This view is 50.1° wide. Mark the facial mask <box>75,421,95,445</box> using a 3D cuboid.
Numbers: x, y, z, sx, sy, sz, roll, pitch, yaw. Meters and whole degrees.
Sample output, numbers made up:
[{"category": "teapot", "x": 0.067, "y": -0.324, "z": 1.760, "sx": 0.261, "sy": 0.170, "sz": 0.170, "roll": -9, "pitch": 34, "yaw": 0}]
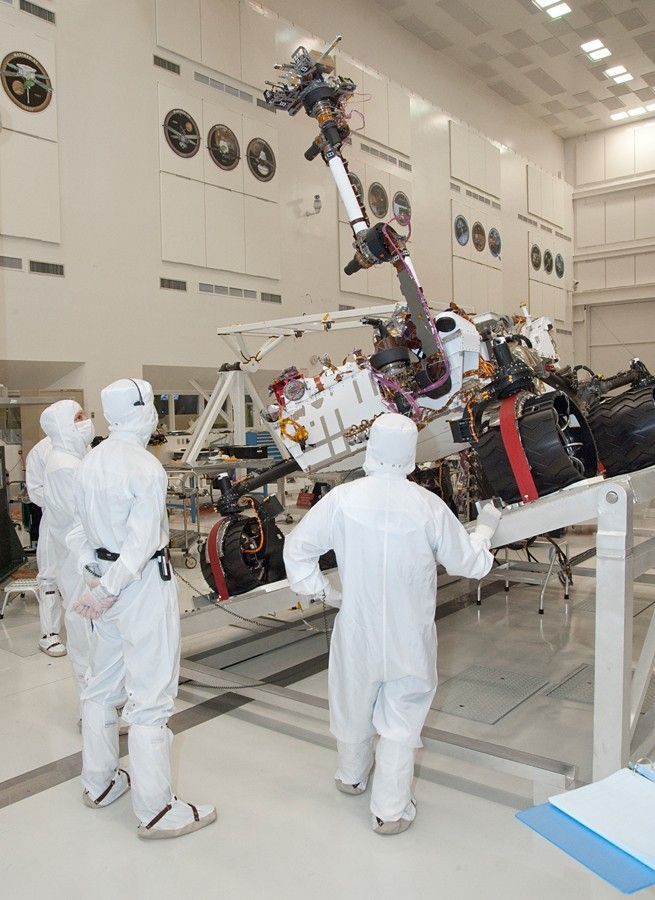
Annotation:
[{"category": "facial mask", "x": -1.408, "y": -0.093, "z": 3.977, "sx": 0.122, "sy": 0.115, "sz": 0.092, "roll": -5, "pitch": 7, "yaw": 8}]

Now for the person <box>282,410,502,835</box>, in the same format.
[{"category": "person", "x": 0.206, "y": 0.526, "z": 2.237, "sx": 0.629, "sy": 1.280, "sz": 0.359, "roll": -2, "pitch": 2, "yaw": 12}]

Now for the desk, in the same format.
[{"category": "desk", "x": -0.861, "y": 0.334, "z": 5.731, "sx": 0.702, "sy": 0.266, "sz": 0.717, "roll": -7, "pitch": 5, "yaw": 36}]

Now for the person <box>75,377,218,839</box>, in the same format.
[{"category": "person", "x": -0.627, "y": 0.474, "z": 2.269, "sx": 0.390, "sy": 1.423, "sz": 0.493, "roll": -3, "pitch": 2, "yaw": -29}]
